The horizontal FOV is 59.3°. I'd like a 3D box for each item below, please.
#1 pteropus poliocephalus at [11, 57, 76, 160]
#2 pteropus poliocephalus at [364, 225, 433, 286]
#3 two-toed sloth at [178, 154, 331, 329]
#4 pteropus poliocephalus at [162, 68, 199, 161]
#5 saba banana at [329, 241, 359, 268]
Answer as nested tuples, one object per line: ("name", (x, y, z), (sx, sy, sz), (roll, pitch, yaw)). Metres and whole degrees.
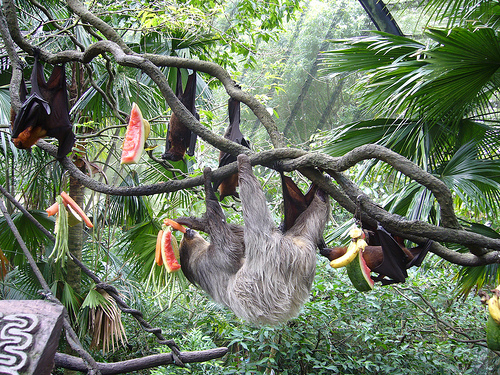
("pteropus poliocephalus", (-1.668, -0.620, 3.585), (0.559, 0.746, 0.277), (10, -1, -44))
("pteropus poliocephalus", (1.079, 0.521, 3.333), (0.362, 0.530, 0.506), (7, 6, 42))
("two-toed sloth", (0.018, 0.410, 3.414), (1.084, 1.252, 0.498), (20, 20, 12))
("pteropus poliocephalus", (-0.587, -0.635, 3.931), (0.359, 0.793, 0.407), (6, 11, 6))
("saba banana", (0.669, 0.492, 3.182), (0.166, 0.235, 0.144), (7, 21, -21))
